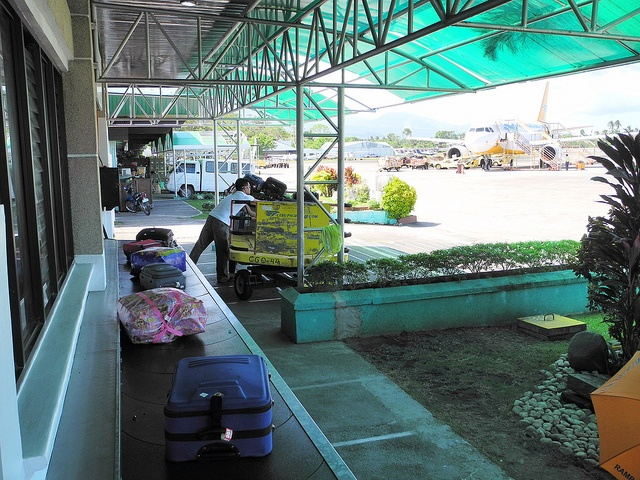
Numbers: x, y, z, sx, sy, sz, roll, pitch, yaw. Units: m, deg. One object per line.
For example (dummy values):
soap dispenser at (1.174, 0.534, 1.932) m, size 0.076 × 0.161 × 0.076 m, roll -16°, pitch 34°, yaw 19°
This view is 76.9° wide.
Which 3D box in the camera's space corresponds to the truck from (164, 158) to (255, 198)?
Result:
truck at (-8.525, -4.925, 34.751) m, size 8.404 × 2.908 × 3.626 m, roll 0°, pitch -1°, yaw -7°

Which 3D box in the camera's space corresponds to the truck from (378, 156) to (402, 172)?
truck at (9.558, -9.761, 51.632) m, size 3.583 × 1.803 × 1.932 m, roll -6°, pitch 13°, yaw -25°

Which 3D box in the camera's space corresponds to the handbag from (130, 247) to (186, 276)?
handbag at (-3.046, 0.316, 7.519) m, size 0.795 × 0.328 × 0.736 m, roll 1°, pitch 2°, yaw 9°

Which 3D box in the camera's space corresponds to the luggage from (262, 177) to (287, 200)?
luggage at (-1.153, -1.304, 10.174) m, size 0.687 × 0.543 × 0.476 m, roll 1°, pitch 12°, yaw 7°

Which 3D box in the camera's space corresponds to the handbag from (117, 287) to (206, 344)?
handbag at (-2.001, 0.831, 4.936) m, size 0.765 × 0.347 × 0.745 m, roll -3°, pitch 6°, yaw -35°

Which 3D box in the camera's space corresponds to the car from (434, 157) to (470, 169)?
car at (19.597, -11.197, 58.781) m, size 3.935 × 1.139 × 1.851 m, roll 0°, pitch 10°, yaw 31°

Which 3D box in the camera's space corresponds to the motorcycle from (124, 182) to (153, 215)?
motorcycle at (-11.111, -2.450, 24.586) m, size 2.810 × 1.514 × 1.246 m, roll 9°, pitch 19°, yaw 37°

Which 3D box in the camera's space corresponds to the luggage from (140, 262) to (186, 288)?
luggage at (-2.477, 0.572, 6.369) m, size 0.511 × 0.308 × 0.497 m, roll -2°, pitch 6°, yaw -22°

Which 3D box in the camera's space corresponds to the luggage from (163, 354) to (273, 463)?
luggage at (-0.758, 1.194, 3.052) m, size 0.863 × 0.407 × 0.946 m, roll 1°, pitch 7°, yaw -3°
